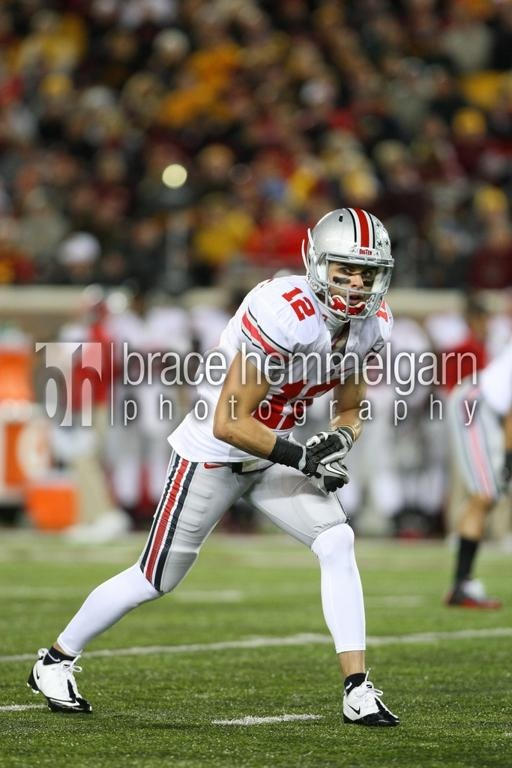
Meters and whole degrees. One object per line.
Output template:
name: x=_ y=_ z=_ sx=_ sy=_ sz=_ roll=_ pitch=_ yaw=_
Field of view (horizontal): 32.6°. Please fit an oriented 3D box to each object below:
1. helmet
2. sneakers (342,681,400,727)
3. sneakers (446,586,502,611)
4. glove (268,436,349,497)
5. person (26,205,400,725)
helmet: x=0.163 y=-0.267 z=1.963 sx=0.227 sy=0.248 sz=0.265 roll=-2 pitch=21 yaw=-15
sneakers: x=0.227 y=0.659 z=1.828 sx=0.063 sy=0.084 sz=0.158 roll=2 pitch=-6 yaw=-43
sneakers: x=0.539 y=0.532 z=2.180 sx=0.135 sy=0.045 sz=0.049 roll=3 pitch=-4 yaw=-1
glove: x=0.117 y=0.167 z=1.863 sx=0.144 sy=0.063 sz=0.136 roll=22 pitch=-10 yaw=14
person: x=-0.096 y=0.161 z=2.016 sx=0.777 sy=1.018 sz=0.780 roll=2 pitch=27 yaw=10
